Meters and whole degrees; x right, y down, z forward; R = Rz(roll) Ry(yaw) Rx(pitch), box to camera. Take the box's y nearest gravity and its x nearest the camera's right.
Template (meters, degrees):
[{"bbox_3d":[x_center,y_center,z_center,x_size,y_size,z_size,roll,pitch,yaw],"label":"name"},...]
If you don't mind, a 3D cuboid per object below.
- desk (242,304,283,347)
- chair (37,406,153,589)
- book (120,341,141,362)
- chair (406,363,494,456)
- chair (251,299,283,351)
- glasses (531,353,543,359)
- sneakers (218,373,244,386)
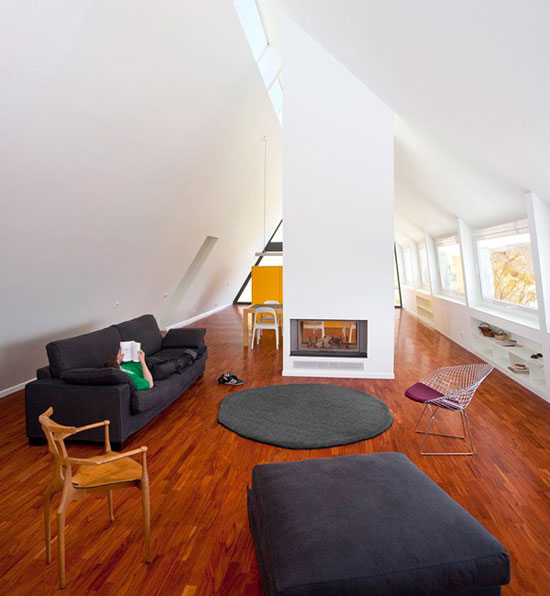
[{"bbox_3d":[-0.218,0.508,8.166,0.724,0.854,1.780,2,6,1],"label":"desk"},{"bbox_3d":[-0.915,0.970,2.085,0.470,0.786,0.495,5,5,29],"label":"chair"},{"bbox_3d":[-1.453,0.536,4.115,0.168,0.195,0.059,-4,3,-19],"label":"book"},{"bbox_3d":[1.520,0.936,3.596,0.614,0.833,0.648,-3,8,-44],"label":"chair"},{"bbox_3d":[-0.140,0.412,7.943,0.564,1.181,0.804,0,16,3],"label":"chair"},{"bbox_3d":[3.232,0.708,5.004,0.096,0.027,0.072,-4,1,-32],"label":"glasses"},{"bbox_3d":[-0.600,1.085,5.422,0.360,0.173,0.141,0,0,15],"label":"sneakers"}]
